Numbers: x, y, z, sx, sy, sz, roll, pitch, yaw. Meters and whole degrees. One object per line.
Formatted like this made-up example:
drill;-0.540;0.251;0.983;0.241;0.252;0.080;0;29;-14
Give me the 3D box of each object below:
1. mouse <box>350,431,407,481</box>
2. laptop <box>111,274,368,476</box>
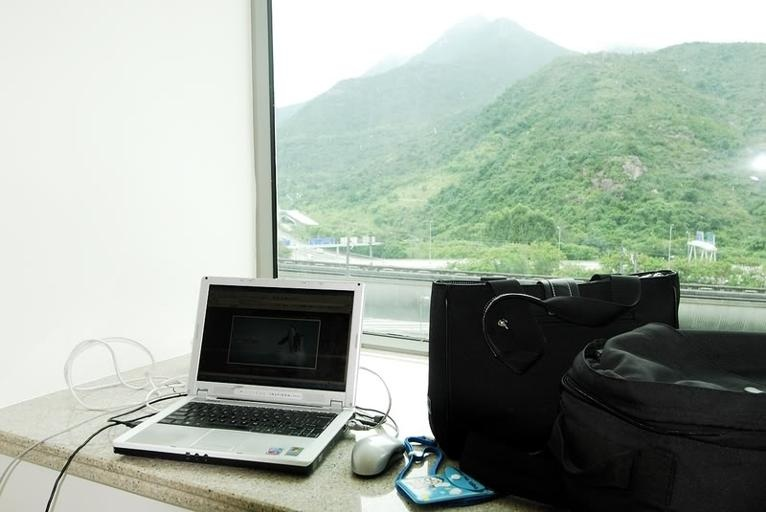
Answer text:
mouse;-0.013;0.452;1.293;0.093;0.054;0.162;8;10;29
laptop;-0.314;0.278;1.345;0.525;0.350;0.461;2;-1;14
